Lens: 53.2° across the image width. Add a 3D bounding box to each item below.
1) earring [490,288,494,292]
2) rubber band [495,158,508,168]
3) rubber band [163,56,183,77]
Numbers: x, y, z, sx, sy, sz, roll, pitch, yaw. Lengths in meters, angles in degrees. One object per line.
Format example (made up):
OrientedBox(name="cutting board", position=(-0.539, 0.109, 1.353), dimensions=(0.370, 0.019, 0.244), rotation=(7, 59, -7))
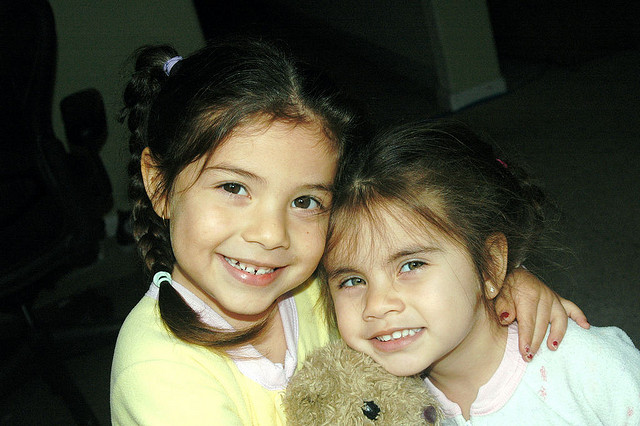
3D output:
OrientedBox(name="earring", position=(0.550, 0.246, 2.048), dimensions=(0.014, 0.011, 0.002), rotation=(-9, 4, -22))
OrientedBox(name="rubber band", position=(0.624, -0.173, 2.193), dimensions=(0.030, 0.038, 0.106), rotation=(-6, 4, 24))
OrientedBox(name="rubber band", position=(-0.491, -0.493, 2.120), dimensions=(0.022, 0.066, 0.061), rotation=(29, 33, 22))
